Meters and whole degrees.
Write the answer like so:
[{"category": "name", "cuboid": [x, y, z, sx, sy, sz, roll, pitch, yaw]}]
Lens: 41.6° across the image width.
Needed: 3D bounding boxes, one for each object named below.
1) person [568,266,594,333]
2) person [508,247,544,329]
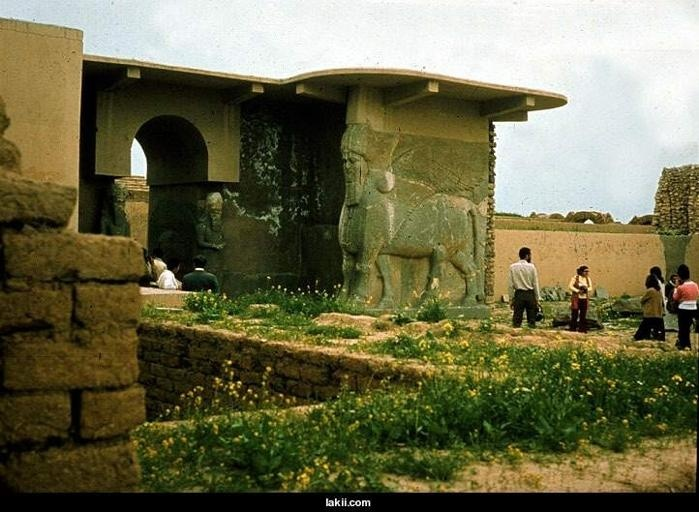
[{"category": "person", "cuboid": [3.663, 0.655, 14.613, 0.301, 1.097, 0.744, 2, 13, 14]}, {"category": "person", "cuboid": [2.526, 0.491, 13.332, 0.421, 1.230, 0.457, 1, 13, 10]}]
